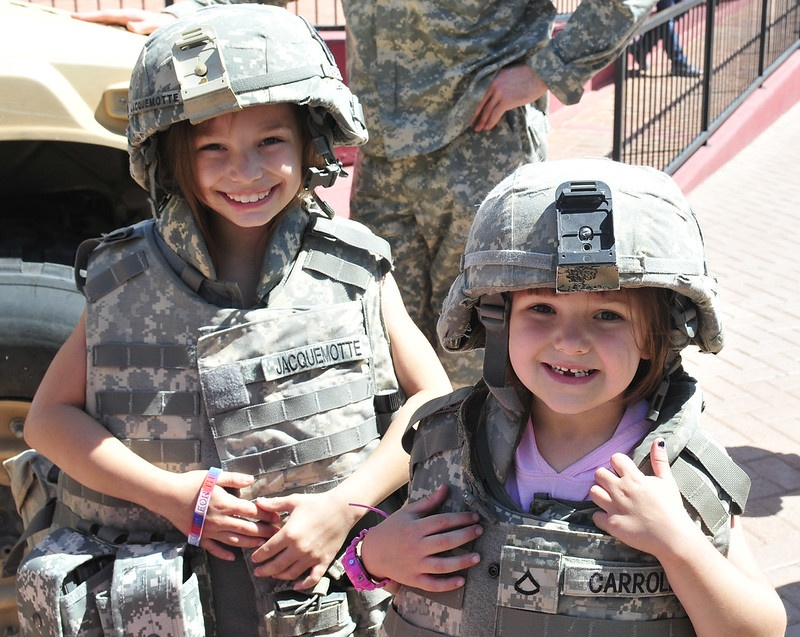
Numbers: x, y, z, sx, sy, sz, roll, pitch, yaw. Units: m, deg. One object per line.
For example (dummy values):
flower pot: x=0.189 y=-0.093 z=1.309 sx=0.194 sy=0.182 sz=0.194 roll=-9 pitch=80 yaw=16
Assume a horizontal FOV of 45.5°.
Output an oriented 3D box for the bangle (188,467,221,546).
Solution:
bangle: x=-0.542 y=0.531 z=2.692 sx=0.058 sy=0.206 sz=0.108 roll=9 pitch=15 yaw=31

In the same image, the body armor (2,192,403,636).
body armor: x=-0.545 y=0.305 z=2.779 sx=1.409 sy=1.339 sz=0.804 roll=0 pitch=2 yaw=-4

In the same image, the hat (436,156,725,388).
hat: x=0.433 y=-0.106 z=2.178 sx=0.504 sy=0.342 sz=0.504 roll=0 pitch=-8 yaw=4

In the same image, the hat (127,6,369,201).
hat: x=-0.472 y=-0.708 z=2.979 sx=0.589 sy=0.490 sz=0.637 roll=-8 pitch=-4 yaw=-1
